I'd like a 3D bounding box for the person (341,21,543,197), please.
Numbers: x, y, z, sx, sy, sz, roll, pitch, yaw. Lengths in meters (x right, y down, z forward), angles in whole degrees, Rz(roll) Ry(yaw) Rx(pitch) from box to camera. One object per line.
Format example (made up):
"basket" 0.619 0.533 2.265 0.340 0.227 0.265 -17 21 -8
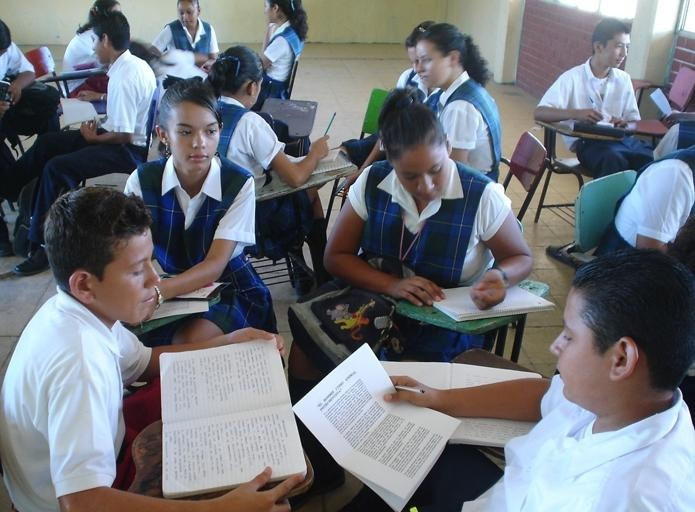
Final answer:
"person" 0.630 -1.024 3.459 0.977 1.038 0.724 -16 49 -22

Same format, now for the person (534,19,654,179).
"person" 1.835 -1.074 4.166 0.747 1.325 0.769 0 9 -4

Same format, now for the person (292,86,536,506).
"person" 0.230 0.154 2.273 0.936 1.565 0.929 1 22 -1

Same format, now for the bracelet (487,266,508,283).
"bracelet" 0.548 0.061 2.096 0.057 0.015 0.060 44 18 -1

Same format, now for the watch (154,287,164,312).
"watch" -0.636 0.148 1.935 0.018 0.076 0.077 -20 -1 -8

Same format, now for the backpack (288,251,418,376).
"backpack" 0.032 0.206 2.125 0.466 0.175 0.352 -33 50 -28

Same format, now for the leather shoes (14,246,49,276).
"leather shoes" -1.897 0.028 3.454 0.070 0.087 0.197 26 37 20
